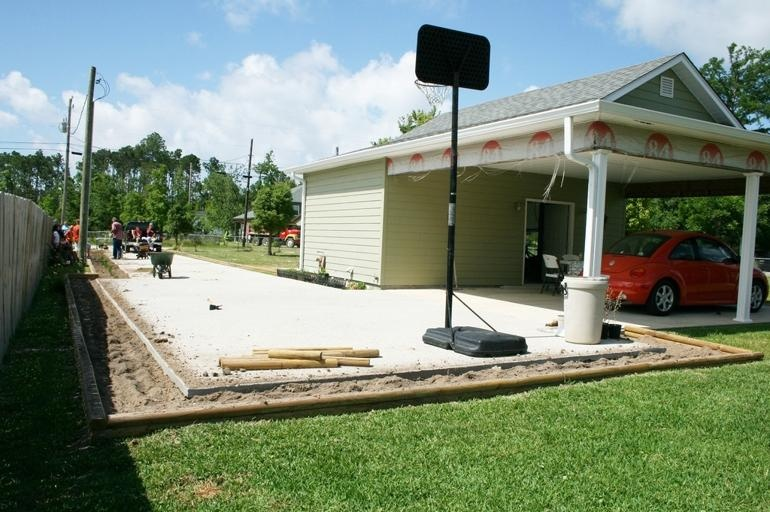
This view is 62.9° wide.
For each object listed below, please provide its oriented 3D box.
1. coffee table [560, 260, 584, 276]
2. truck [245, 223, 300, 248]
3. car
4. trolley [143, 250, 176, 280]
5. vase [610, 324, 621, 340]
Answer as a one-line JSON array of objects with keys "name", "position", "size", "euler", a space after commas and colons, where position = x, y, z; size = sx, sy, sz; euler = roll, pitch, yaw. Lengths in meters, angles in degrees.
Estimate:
[{"name": "coffee table", "position": [4.239, 0.249, 14.380], "size": [0.448, 0.312, 5.710], "euler": [1, 1, 15]}, {"name": "truck", "position": [-8.521, -1.793, 47.431], "size": [5.917, 2.220, 2.313], "euler": [0, 0, 32]}, {"name": "car", "position": [6.344, 0.272, 13.586], "size": [3.607, 1.488, 1.875], "euler": [-2, 2, -14]}, {"name": "trolley", "position": [-6.138, 0.236, 17.289], "size": [0.666, 0.655, 1.146], "euler": [1, 1, -32]}, {"name": "vase", "position": [3.939, 1.268, 10.736], "size": [0.231, 0.243, 0.122], "euler": [0, 2, -45]}]
